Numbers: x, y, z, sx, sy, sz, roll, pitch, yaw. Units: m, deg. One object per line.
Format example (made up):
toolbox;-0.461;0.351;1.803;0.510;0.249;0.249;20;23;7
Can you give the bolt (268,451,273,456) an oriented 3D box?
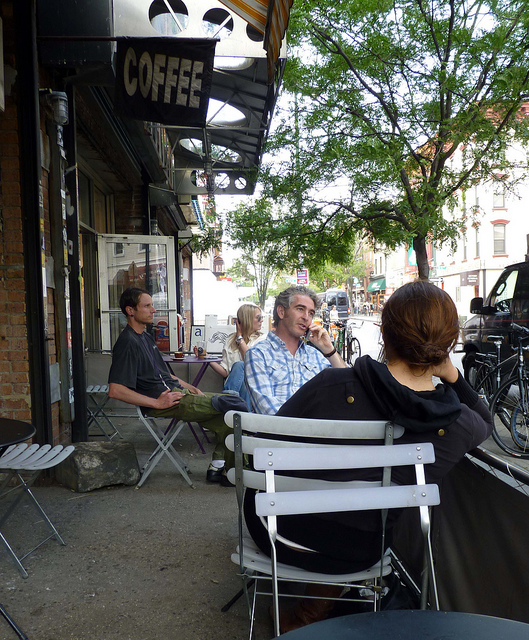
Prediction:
bolt;0.020;0.414;1.757;0.012;0.011;0.003;1;2;0

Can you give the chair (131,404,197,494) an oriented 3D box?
chair;-0.756;0.927;4.315;0.501;0.580;0.548;0;-1;13

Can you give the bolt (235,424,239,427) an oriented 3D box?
bolt;-0.095;0.374;2.000;0.006;0.007;0.012;13;8;26

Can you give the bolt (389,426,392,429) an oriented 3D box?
bolt;0.410;0.348;1.834;0.008;0.008;0.008;-1;5;-34

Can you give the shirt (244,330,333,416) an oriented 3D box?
shirt;0.125;0.260;2.831;0.396;0.382;0.220;5;-22;-30

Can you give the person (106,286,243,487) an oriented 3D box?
person;-0.686;0.493;4.355;0.913;1.468;0.749;1;2;-4

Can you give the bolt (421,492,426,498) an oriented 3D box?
bolt;0.482;0.524;1.702;0.014;0.013;0.003;1;2;-11

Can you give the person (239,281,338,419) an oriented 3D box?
person;0.174;0.267;3.160;0.440;0.905;0.463;-5;-12;43

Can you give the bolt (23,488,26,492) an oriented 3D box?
bolt;-1.192;0.845;2.820;0.011;0.017;0.009;5;31;9

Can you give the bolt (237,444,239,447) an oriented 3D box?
bolt;-0.090;0.441;1.992;0.005;0.009;0.002;1;2;17

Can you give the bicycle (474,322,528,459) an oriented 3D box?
bicycle;2.476;0.658;5.882;0.370;1.246;1.398;1;2;15

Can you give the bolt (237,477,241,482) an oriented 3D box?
bolt;-0.086;0.554;1.968;0.014;0.018;0.006;3;2;45

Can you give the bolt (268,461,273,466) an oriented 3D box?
bolt;0.022;0.445;1.753;0.012;0.010;0.003;1;2;-3

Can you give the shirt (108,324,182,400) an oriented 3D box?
shirt;-0.898;0.343;4.447;0.302;0.623;0.889;-19;-5;15

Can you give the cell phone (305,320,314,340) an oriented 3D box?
cell phone;0.263;0.057;3.232;0.025;0.095;0.096;9;7;0
